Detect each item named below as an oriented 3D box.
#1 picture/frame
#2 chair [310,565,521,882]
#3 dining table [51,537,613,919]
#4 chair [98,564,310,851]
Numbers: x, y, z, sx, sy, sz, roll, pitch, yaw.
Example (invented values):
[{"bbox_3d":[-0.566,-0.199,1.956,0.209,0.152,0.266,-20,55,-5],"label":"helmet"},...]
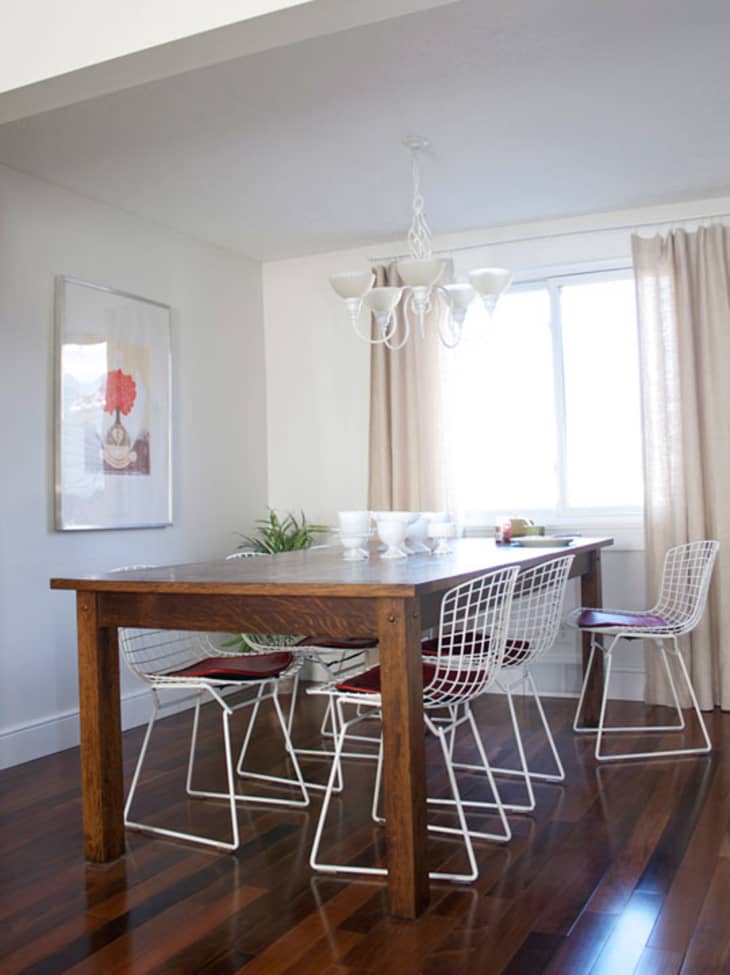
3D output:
[{"bbox_3d":[-1.193,-0.373,3.891,0.158,1.169,0.802,-3,-4,17],"label":"picture/frame"},{"bbox_3d":[0.142,0.643,2.300,0.557,0.787,0.567,-6,-8,35],"label":"chair"},{"bbox_3d":[-0.037,0.618,2.549,1.153,0.794,1.403,-4,-5,30],"label":"dining table"},{"bbox_3d":[-0.490,0.704,2.664,0.558,0.739,0.542,-8,-5,42],"label":"chair"}]
